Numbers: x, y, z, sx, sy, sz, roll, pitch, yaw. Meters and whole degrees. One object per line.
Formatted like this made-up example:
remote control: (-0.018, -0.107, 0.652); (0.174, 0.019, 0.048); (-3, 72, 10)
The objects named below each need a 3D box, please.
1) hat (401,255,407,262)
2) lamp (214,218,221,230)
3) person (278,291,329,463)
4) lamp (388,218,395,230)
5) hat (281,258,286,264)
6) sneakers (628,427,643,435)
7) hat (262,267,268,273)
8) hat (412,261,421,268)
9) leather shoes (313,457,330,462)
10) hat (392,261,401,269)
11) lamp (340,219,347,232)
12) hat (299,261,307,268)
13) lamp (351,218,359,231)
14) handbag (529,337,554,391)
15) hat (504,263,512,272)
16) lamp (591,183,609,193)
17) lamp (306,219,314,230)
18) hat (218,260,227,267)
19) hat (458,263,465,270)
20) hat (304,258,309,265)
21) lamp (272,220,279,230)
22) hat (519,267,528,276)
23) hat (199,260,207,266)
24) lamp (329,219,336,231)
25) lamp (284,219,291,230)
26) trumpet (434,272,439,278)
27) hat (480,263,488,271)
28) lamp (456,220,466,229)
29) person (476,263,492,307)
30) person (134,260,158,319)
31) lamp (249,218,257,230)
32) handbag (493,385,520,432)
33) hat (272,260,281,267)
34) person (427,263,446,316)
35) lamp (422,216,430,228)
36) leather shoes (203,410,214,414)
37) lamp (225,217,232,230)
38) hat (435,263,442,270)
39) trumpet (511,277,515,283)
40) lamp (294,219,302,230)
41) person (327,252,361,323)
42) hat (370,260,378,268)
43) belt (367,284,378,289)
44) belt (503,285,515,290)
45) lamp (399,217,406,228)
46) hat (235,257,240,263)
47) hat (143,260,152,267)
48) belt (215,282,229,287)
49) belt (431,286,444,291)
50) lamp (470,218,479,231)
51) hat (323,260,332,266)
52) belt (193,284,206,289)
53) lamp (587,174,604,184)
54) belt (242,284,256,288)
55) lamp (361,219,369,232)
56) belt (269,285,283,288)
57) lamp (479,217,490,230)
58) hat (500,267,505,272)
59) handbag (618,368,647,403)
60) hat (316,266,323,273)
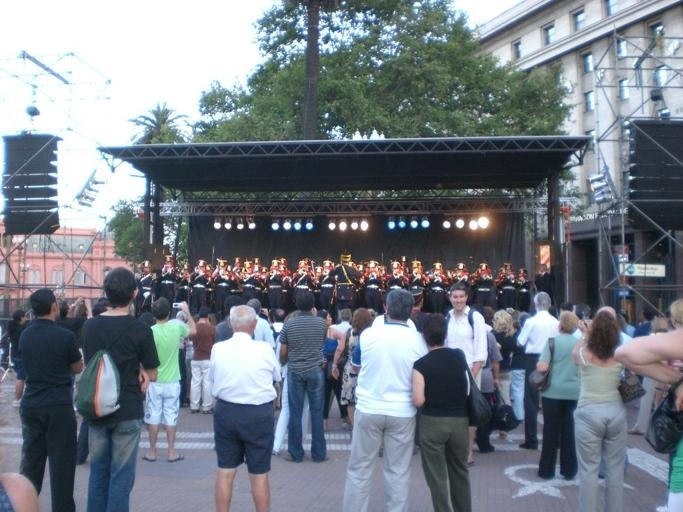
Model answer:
hat: (1.823, 0.112, 26.320); (0.196, 0.218, 0.187); (2, 2, 17)
lamp: (-3.655, -0.868, 26.652); (0.236, 0.251, 0.268); (7, 23, -10)
person: (-0.625, 2.001, 15.258); (0.831, 2.813, 0.804); (-2, 6, -22)
lamp: (1.494, -0.912, 26.679); (0.229, 0.286, 0.232); (-8, 2, -21)
hat: (-1.668, 0.180, 26.339); (0.147, 0.152, 0.153); (-1, 9, 8)
sneakers: (5.422, 3.241, 16.592); (0.318, 0.134, 0.100); (2, -7, 28)
hat: (-2.201, 0.444, 26.246); (0.133, 0.162, 0.138); (2, 1, 24)
hat: (2.088, 0.236, 24.852); (0.199, 0.226, 0.206); (0, -12, 2)
leather shoes: (-0.332, 3.445, 15.177); (0.248, 0.110, 0.085); (0, 1, -20)
hat: (1.518, 0.262, 24.678); (0.187, 0.236, 0.204); (3, -8, -26)
lamp: (0.091, -0.889, 26.501); (0.236, 0.238, 0.056); (-7, 0, 42)
hat: (-1.066, 0.250, 25.293); (0.197, 0.203, 0.204); (-1, -6, 3)
lamp: (0.416, -0.915, 26.587); (0.216, 0.275, 0.098); (-2, -11, 7)
handbag: (3.239, 1.773, 14.512); (0.391, 1.055, 0.730); (6, -9, 10)
hat: (4.593, 0.346, 25.011); (0.242, 0.294, 0.249); (3, 4, 30)
lamp: (6.373, -1.687, 22.346); (0.229, 0.217, 0.479); (1, -3, -33)
lamp: (-0.931, -0.911, 26.976); (0.217, 0.280, 0.661); (0, -3, 2)
hat: (-3.274, 0.241, 25.137); (0.189, 0.201, 0.183); (0, -2, -2)
hat: (3.296, 0.317, 24.892); (0.181, 0.213, 0.187); (1, -1, 27)
hat: (-1.008, 0.189, 27.035); (0.106, 0.181, 0.104); (11, -22, -10)
lamp: (-1.925, -0.875, 26.901); (0.240, 0.259, 0.248); (3, 7, 4)
hat: (5.045, 0.470, 24.900); (0.178, 0.216, 0.184); (4, -3, -1)
hat: (-3.873, 0.226, 25.268); (0.156, 0.094, 0.159); (-4, 8, -11)
lamp: (-0.244, -0.884, 26.756); (0.236, 0.251, 0.148); (11, -9, -1)
lamp: (-1.580, -0.900, 26.796); (0.234, 0.274, 0.369); (0, -3, 0)
trumpet: (2.617, 0.526, 24.625); (0.127, 0.112, 0.075); (-1, -2, 6)
hat: (3.925, 0.336, 24.842); (0.215, 0.217, 0.221); (-3, -3, 34)
lamp: (3.512, -0.890, 26.343); (0.052, 0.240, 0.229); (1, 16, -28)
person: (3.919, 1.021, 24.741); (0.446, 1.475, 0.437); (-1, 11, 7)
person: (-5.379, 1.070, 24.874); (0.511, 1.808, 0.499); (7, 17, -3)
lamp: (-2.587, -0.903, 26.816); (0.237, 0.261, 0.269); (-6, 22, -7)
handbag: (2.768, 2.601, 15.286); (0.432, 0.868, 0.477); (-12, -11, 23)
hat: (-1.794, 0.236, 25.458); (0.171, 0.202, 0.174); (-2, 6, -18)
person: (2.649, 1.044, 24.695); (0.469, 1.584, 0.452); (-2, 13, -4)
lamp: (2.433, -0.927, 26.023); (0.250, 0.248, 0.255); (11, 14, 31)
leather shoes: (-2.614, 3.101, 17.825); (0.245, 0.110, 0.085); (1, 0, -6)
lamp: (-3.307, -0.950, 26.633); (0.193, 0.206, 0.454); (-9, 32, 1)
hat: (2.701, 0.313, 24.854); (0.175, 0.195, 0.182); (0, -13, 1)
trumpet: (4.720, 0.708, 24.686); (0.156, 0.162, 0.092); (0, -14, 1)
lamp: (-1.281, -0.894, 26.913); (0.238, 0.269, 0.728); (0, -3, -3)
person: (0.101, 0.816, 24.585); (0.671, 1.772, 0.623); (2, 21, -7)
hat: (0.932, 0.246, 25.155); (0.193, 0.228, 0.201); (0, -13, 1)
belt: (0.880, 0.857, 24.716); (0.292, 0.111, 0.088); (-1, -2, 13)
belt: (4.596, 0.904, 24.709); (0.398, 0.172, 0.094); (2, -4, 5)
lamp: (1.813, -0.975, 26.478); (0.208, 0.314, 0.072); (-1, 2, 12)
hat: (-2.918, 0.144, 25.576); (0.144, 0.175, 0.149); (1, -8, -5)
hat: (-5.280, 0.235, 24.703); (0.161, 0.313, 0.166); (0, 8, -9)
belt: (-3.222, 0.805, 24.795); (0.309, 0.111, 0.101); (0, -2, -8)
belt: (2.630, 0.904, 24.496); (0.288, 0.110, 0.096); (-1, -2, 6)
lamp: (3.860, -0.883, 26.335); (0.256, 0.368, 0.264); (3, -13, -8)
hat: (-0.349, 0.228, 25.352); (0.170, 0.171, 0.176); (1, -6, -4)
belt: (-3.874, 0.863, 24.867); (0.317, 0.111, 0.149); (1, -3, -27)
lamp: (6.323, -1.897, 22.255); (0.365, 0.221, 0.340); (-1, -3, 16)
belt: (-2.516, 0.837, 24.924); (0.309, 0.131, 0.219); (1, -3, -16)
lamp: (0.713, -0.883, 26.640); (0.211, 0.287, 0.222); (-2, -29, -2)
belt: (-1.793, 0.877, 25.036); (0.307, 0.095, 0.130); (0, -3, -15)
lamp: (4.169, -0.925, 26.173); (0.291, 0.349, 0.291); (-32, 15, -21)
hat: (4.495, 0.417, 25.018); (0.142, 0.148, 0.148); (0, 2, -41)
handbag: (4.183, 1.932, 13.279); (0.502, 0.542, 0.331); (-9, -3, 0)
hat: (-0.602, 0.393, 25.571); (0.202, 0.254, 0.137); (1, 4, 6)
